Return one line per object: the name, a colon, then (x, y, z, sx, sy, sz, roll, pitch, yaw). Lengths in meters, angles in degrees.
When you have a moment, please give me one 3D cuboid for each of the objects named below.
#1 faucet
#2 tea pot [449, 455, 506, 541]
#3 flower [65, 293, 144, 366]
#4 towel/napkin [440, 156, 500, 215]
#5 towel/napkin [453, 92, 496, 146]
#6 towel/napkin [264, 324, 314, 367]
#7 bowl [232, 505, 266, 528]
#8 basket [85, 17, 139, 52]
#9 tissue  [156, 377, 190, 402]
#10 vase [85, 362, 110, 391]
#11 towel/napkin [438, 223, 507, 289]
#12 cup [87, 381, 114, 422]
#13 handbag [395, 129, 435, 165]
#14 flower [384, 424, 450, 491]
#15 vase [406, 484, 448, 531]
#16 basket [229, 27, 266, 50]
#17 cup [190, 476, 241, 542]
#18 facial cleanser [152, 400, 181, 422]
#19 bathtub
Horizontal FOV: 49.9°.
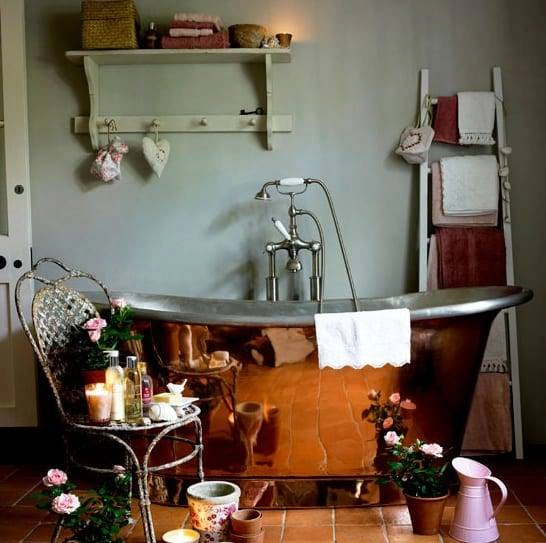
faucet: (0.093, -0.055, 2.856, 0.272, 0.483, 0.205, 0, 3, 4)
tea pot: (0.726, 0.844, 2.131, 0.173, 0.288, 0.225, 6, -6, -45)
flower: (-0.610, 0.238, 2.124, 0.233, 0.275, 0.279, -9, 27, -11)
towel/napkin: (0.941, -0.420, 2.867, 0.254, 0.280, 0.070, 0, 2, 13)
towel/napkin: (0.978, -0.753, 2.865, 0.198, 0.240, 0.073, -2, 5, 2)
towel/napkin: (0.059, 0.266, 2.120, 0.142, 0.139, 0.034, -26, 17, 9)
bowl: (-0.085, 0.806, 1.894, 0.067, 0.045, 0.071, 0, -8, 0)
basket: (-0.784, -1.140, 2.810, 0.172, 0.104, 0.172, 0, 10, -2)
tissue : (-0.347, 0.427, 2.073, 0.059, 0.075, 0.107, 0, -5, 33)
vase: (-0.600, 0.363, 2.024, 0.077, 0.060, 0.081, 1, -6, 1)
towel/napkin: (0.933, -0.079, 2.777, 0.303, 0.297, 0.105, -2, 3, 7)
cup: (-0.566, 0.442, 1.936, 0.111, 0.124, 0.110, -5, -13, -1)
handbag: (0.665, -0.612, 2.996, 0.204, 0.083, 0.244, -38, 2, 8)
flower: (0.500, 0.701, 2.166, 0.233, 0.175, 0.261, -5, 20, 2)
vase: (0.537, 0.879, 2.139, 0.164, 0.129, 0.167, 9, -15, -24)
basket: (-0.124, -1.147, 2.842, 0.140, 0.067, 0.139, 2, 11, 15)
cup: (-0.179, 0.815, 2.022, 0.168, 0.186, 0.179, 1, 1, 0)
facial cleanser: (-0.343, 0.451, 1.896, 0.073, 0.038, 0.056, 14, 3, -2)
bathtub: (0.135, 0.473, 2.426, 1.642, 0.658, 0.580, -3, -2, 2)
